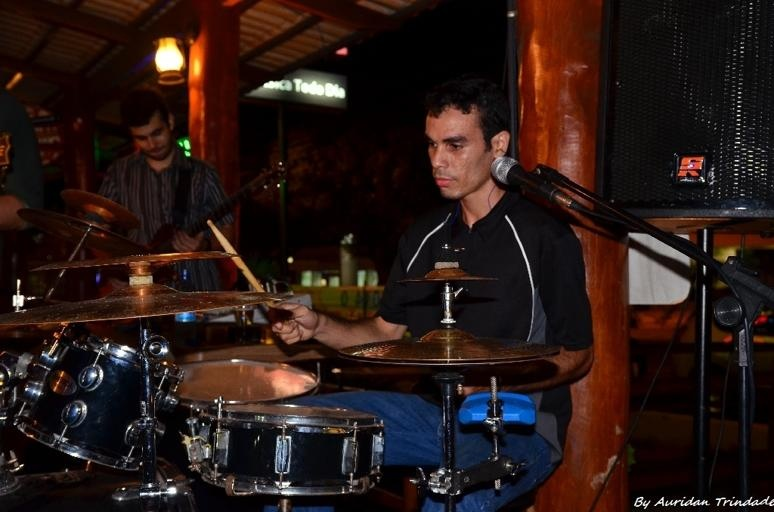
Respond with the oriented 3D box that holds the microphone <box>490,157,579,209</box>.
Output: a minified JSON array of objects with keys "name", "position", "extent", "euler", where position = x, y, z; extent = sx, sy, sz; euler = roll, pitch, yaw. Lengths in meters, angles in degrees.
[{"name":"microphone","position":[0.675,-0.344,3.532],"extent":[0.367,0.257,0.125],"euler":[-3,-8,32]}]

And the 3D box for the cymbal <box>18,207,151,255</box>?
[{"name":"cymbal","position":[-1.654,-0.187,4.291],"extent":[0.531,0.082,0.523],"euler":[-11,-12,36]}]

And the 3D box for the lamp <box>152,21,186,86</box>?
[{"name":"lamp","position":[-1.980,-1.868,7.056],"extent":[0.240,0.647,0.811],"euler":[3,-7,-13]}]

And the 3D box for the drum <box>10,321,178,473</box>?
[{"name":"drum","position":[-1.401,0.647,3.940],"extent":[0.755,0.536,0.707],"euler":[23,1,0]}]

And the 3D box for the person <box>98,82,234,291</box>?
[{"name":"person","position":[-1.723,-0.530,5.958],"extent":[0.778,1.908,0.202],"euler":[-23,-23,2]}]

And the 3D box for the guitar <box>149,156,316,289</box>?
[{"name":"guitar","position":[-1.412,-0.365,5.983],"extent":[1.485,0.592,0.163],"euler":[-36,-27,30]}]

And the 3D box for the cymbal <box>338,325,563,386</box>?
[{"name":"cymbal","position":[0.330,0.483,3.763],"extent":[1.169,0.271,1.164],"euler":[-1,-2,7]}]
